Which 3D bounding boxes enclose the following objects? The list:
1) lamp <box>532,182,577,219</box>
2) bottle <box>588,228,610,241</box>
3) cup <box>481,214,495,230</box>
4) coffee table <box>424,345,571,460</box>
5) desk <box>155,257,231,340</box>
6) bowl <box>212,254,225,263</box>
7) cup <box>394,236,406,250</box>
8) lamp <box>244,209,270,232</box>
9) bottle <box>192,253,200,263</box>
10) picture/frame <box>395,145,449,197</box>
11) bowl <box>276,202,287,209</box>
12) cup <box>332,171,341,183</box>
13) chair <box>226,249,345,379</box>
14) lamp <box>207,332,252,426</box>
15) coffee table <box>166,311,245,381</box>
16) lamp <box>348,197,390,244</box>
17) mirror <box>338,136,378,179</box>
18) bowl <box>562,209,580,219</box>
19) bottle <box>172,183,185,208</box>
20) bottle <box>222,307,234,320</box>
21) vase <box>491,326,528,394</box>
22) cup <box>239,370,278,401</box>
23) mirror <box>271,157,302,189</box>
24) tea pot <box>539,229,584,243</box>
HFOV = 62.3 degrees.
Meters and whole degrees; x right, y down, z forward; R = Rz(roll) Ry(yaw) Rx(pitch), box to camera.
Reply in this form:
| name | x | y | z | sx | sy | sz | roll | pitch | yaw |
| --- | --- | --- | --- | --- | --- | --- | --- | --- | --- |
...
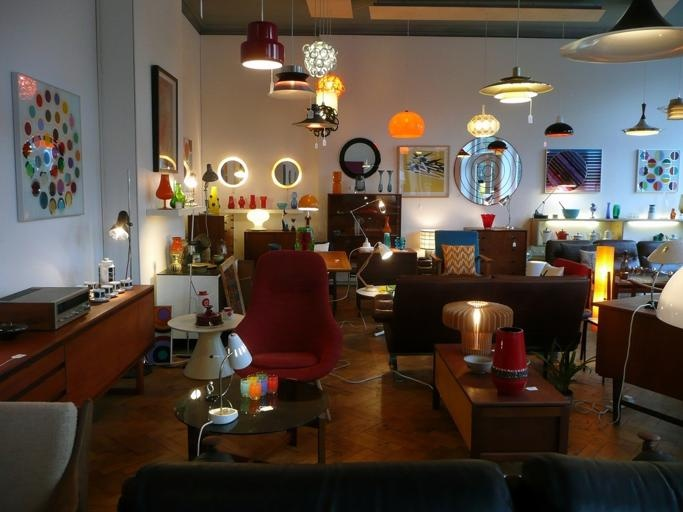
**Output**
| name | x | y | z | sx | sy | sz | roll | pitch | yaw |
| --- | --- | --- | --- | --- | --- | --- | --- | --- | --- |
| lamp | 3.498 | -0.910 | 9.426 | 0.568 | 0.650 | 0.336 | 6 | -3 | 5 |
| bottle | 4.242 | -0.348 | 9.288 | 0.273 | 0.235 | 0.280 | 1 | 4 | 5 |
| cup | 2.364 | -0.550 | 9.179 | 0.222 | 0.247 | 0.242 | 2 | -3 | 0 |
| coffee table | 1.113 | 1.098 | 4.239 | 0.635 | 0.563 | 1.296 | 1 | 9 | -3 |
| desk | -1.597 | 0.378 | 6.071 | 0.649 | 0.654 | 0.660 | -1 | -2 | -3 |
| bowl | -1.415 | 0.018 | 6.419 | 0.099 | 0.107 | 0.102 | -1 | -9 | 0 |
| cup | 0.899 | -0.202 | 8.791 | 0.154 | 0.211 | 0.204 | 0 | -4 | -1 |
| lamp | -1.366 | -0.576 | 9.224 | 0.336 | 0.334 | 0.341 | 0 | -2 | -8 |
| bottle | -1.620 | 0.026 | 6.281 | 0.076 | 0.136 | 0.077 | 1 | 0 | 0 |
| picture/frame | 1.303 | -1.441 | 9.305 | 0.833 | 0.823 | 0.087 | 0 | 2 | -4 |
| bowl | -0.981 | -0.841 | 9.345 | 0.118 | 0.079 | 0.119 | 0 | -3 | 0 |
| cup | -0.089 | -1.303 | 9.208 | 0.152 | 0.151 | 0.149 | 0 | 7 | 0 |
| chair | -0.383 | 0.642 | 4.444 | 0.883 | 1.210 | 1.104 | 2 | 5 | 8 |
| lamp | -0.670 | 0.715 | 3.355 | 0.290 | 0.472 | 0.193 | -5 | 0 | -27 |
| coffee table | -1.235 | 0.844 | 5.224 | 0.625 | 0.484 | 0.677 | 3 | 4 | 31 |
| lamp | 0.416 | -0.578 | 9.106 | 0.729 | 0.710 | 0.406 | -1 | 5 | 1 |
| mirror | 0.258 | -1.639 | 9.232 | 0.598 | 0.619 | 0.048 | 8 | 6 | -10 |
| bowl | 3.689 | -0.684 | 9.109 | 0.177 | 0.109 | 0.177 | 1 | -3 | 0 |
| bottle | -1.740 | -0.640 | 5.991 | 0.109 | 0.254 | 0.290 | -4 | 9 | -10 |
| bottle | -1.046 | 0.522 | 5.196 | 0.094 | 0.088 | 0.086 | -1 | 4 | -17 |
| vase | 1.110 | 0.692 | 3.743 | 0.312 | 0.408 | 0.320 | 1 | 6 | 13 |
| cup | -0.554 | 0.834 | 3.677 | 0.137 | 0.106 | 0.210 | 3 | 4 | 39 |
| mirror | -0.917 | -1.378 | 9.480 | 0.471 | 0.496 | 0.484 | 0 | 3 | -6 |
| tea pot | 3.510 | -0.334 | 9.222 | 0.508 | 0.210 | 0.280 | -1 | 2 | -5 |
